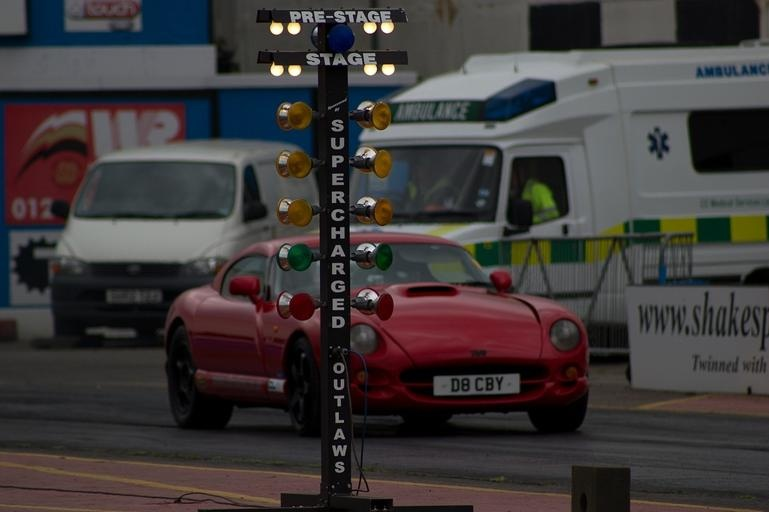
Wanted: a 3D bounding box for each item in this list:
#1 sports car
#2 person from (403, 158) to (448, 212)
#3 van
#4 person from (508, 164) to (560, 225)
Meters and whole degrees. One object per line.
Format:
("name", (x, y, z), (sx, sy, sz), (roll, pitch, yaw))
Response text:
("sports car", (-0.562, 0.991, 21.076), (2.356, 1.461, 3.913), (1, -5, -31))
("person", (0.582, -0.944, 25.525), (0.405, 0.757, 0.206), (-3, -3, 3))
("van", (-3.416, -0.395, 27.391), (2.311, 2.100, 3.988), (-1, -2, 14))
("person", (2.136, -0.877, 25.935), (0.736, 0.855, 0.205), (-4, 5, -31))
